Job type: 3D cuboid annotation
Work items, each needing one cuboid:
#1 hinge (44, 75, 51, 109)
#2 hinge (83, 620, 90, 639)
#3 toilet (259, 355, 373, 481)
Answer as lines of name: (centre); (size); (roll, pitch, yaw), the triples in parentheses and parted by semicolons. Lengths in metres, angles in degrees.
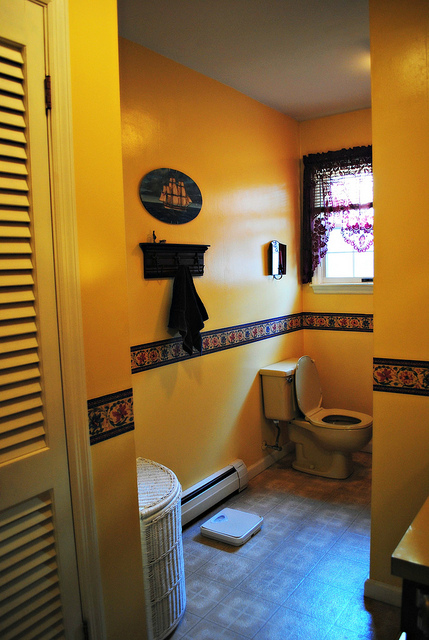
hinge: (-0.386, -0.529, 1.154); (0.015, 0.073, 0.008); (-3, 4, -19)
hinge: (-0.335, 0.813, 1.298); (0.015, 0.055, 0.007); (-3, 4, -16)
toilet: (0.708, 0.655, 3.428); (0.736, 0.773, 0.507); (0, 4, 22)
